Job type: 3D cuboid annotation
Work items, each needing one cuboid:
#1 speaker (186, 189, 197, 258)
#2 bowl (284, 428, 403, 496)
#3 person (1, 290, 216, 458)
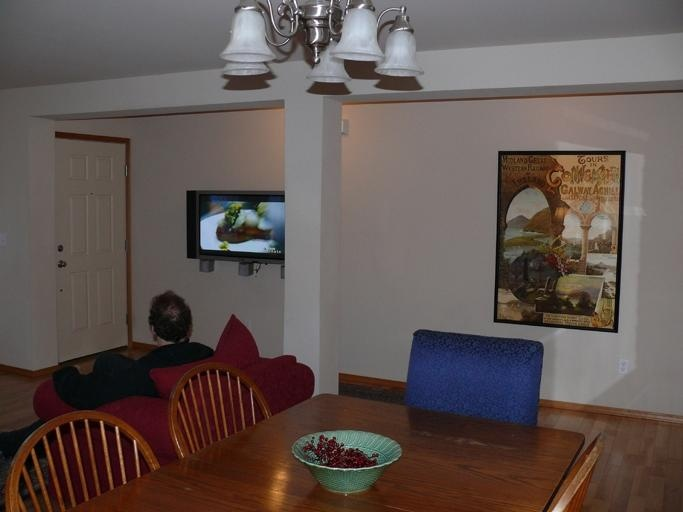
[{"bbox_3d":[-1.732,-0.370,6.017,0.178,0.788,0.060,4,6,29],"label":"speaker"},{"bbox_3d":[0.021,0.673,1.699,0.329,0.120,0.330,1,6,0],"label":"bowl"},{"bbox_3d":[-1.079,0.601,3.052,1.351,0.877,0.736,0,-2,11],"label":"person"}]
